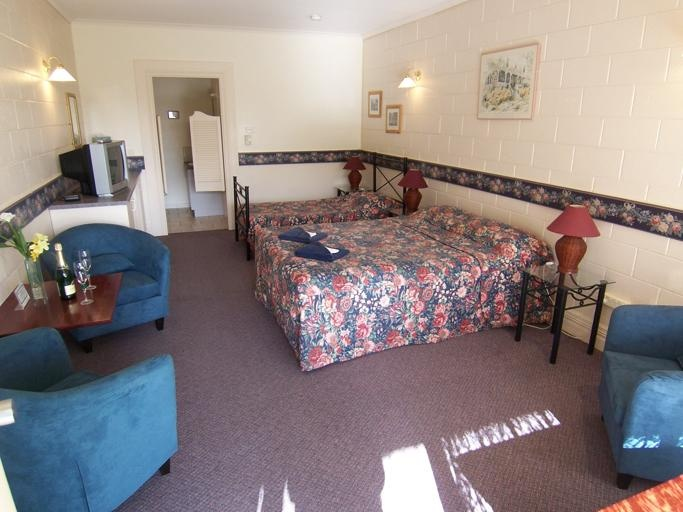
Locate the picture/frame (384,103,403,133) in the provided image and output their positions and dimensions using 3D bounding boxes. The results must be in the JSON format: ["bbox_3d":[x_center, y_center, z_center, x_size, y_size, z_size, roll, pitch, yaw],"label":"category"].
[{"bbox_3d":[0.709,-1.870,6.499,0.041,0.425,0.420,-7,15,-23],"label":"picture/frame"}]

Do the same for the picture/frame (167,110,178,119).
[{"bbox_3d":[-2.935,-2.455,8.336,0.146,0.108,0.016,-5,29,-19],"label":"picture/frame"}]

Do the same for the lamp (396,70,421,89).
[{"bbox_3d":[0.817,-2.178,5.915,0.247,0.194,0.221,-14,28,-16],"label":"lamp"}]

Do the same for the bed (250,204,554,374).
[{"bbox_3d":[0.493,0.177,4.228,1.947,0.745,1.522,-9,30,-18],"label":"bed"}]

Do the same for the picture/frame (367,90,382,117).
[{"bbox_3d":[0.478,-2.228,6.995,0.037,0.388,0.380,-7,25,-23],"label":"picture/frame"}]

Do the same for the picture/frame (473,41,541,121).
[{"bbox_3d":[1.600,-1.677,4.589,0.037,0.656,0.758,-11,28,-24],"label":"picture/frame"}]

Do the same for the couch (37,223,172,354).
[{"bbox_3d":[-2.003,0.197,4.538,1.123,1.209,1.103,-12,24,-40],"label":"couch"}]

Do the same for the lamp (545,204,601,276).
[{"bbox_3d":[1.789,-0.110,3.792,0.318,0.567,0.226,0,19,-1],"label":"lamp"}]

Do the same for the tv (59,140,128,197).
[{"bbox_3d":[-2.587,-0.964,5.206,0.611,0.650,0.782,-1,19,-9],"label":"tv"}]
